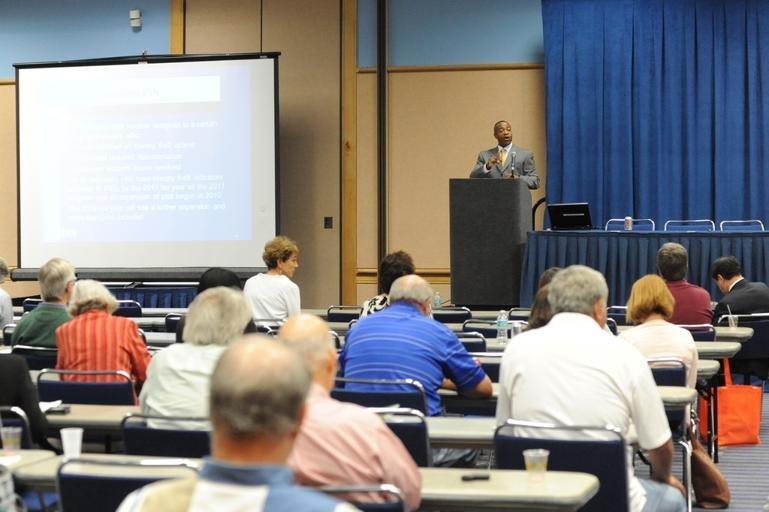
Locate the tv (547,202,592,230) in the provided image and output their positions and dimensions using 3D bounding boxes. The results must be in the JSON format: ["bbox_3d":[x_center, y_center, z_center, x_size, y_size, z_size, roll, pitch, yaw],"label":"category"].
[{"bbox_3d":[2.156,-0.498,11.968,0.404,0.318,0.284,1,16,19],"label":"tv"}]

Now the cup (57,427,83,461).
[{"bbox_3d":[-2.071,1.217,6.830,0.180,0.193,0.187,0,-6,0],"label":"cup"}]

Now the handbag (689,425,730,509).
[{"bbox_3d":[2.565,1.679,8.258,0.244,0.587,0.497,-21,10,10],"label":"handbag"}]

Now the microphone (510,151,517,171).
[{"bbox_3d":[1.533,-1.130,12.388,0.057,0.234,0.157,-1,3,7],"label":"microphone"}]

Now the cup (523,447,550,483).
[{"bbox_3d":[0.969,1.334,6.670,0.165,0.186,0.174,1,-3,0],"label":"cup"}]

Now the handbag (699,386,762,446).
[{"bbox_3d":[3.040,1.360,9.124,0.508,0.551,0.549,-2,-2,42],"label":"handbag"}]

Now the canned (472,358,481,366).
[{"bbox_3d":[0.693,0.801,7.867,0.073,0.039,0.078,7,7,21],"label":"canned"}]

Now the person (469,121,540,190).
[{"bbox_3d":[1.388,-1.192,12.198,0.780,0.795,1.136,-1,3,7],"label":"person"}]
